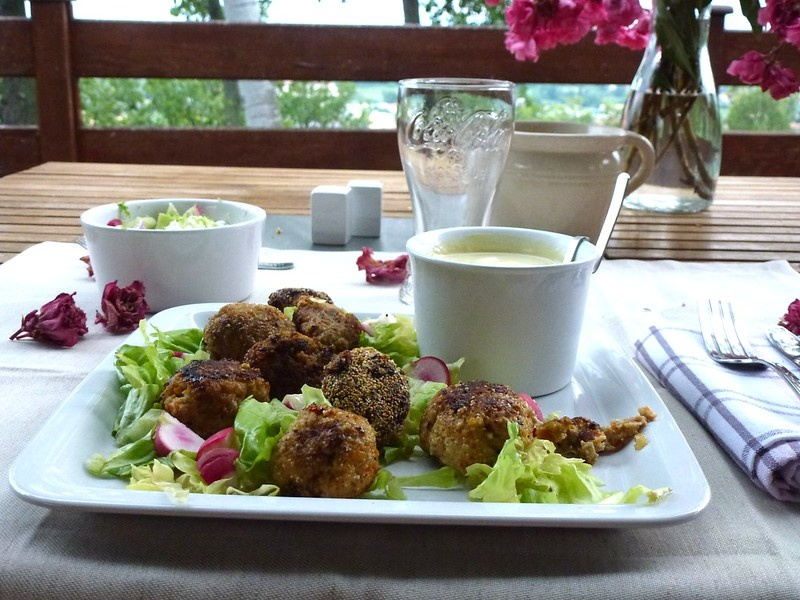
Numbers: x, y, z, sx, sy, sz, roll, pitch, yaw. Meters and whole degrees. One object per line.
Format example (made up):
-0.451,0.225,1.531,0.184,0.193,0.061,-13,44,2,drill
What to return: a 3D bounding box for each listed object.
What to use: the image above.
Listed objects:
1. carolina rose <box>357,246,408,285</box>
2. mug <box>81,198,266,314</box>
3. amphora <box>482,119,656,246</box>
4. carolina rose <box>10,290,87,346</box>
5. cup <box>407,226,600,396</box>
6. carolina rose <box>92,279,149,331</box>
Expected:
-0.028,-0.052,0.938,0.067,0.033,0.052,-6,23,-25,carolina rose
-0.305,-0.053,0.828,0.194,0.086,0.188,-6,22,-23,mug
0.267,-0.195,1.095,0.256,0.203,0.195,8,22,2,amphora
-0.389,0.017,0.707,0.073,0.049,0.056,-11,-2,-4,carolina rose
0.101,-0.023,0.649,0.182,0.129,0.183,2,15,0,cup
-0.348,0.012,0.777,0.073,0.073,0.039,-9,-6,-44,carolina rose
